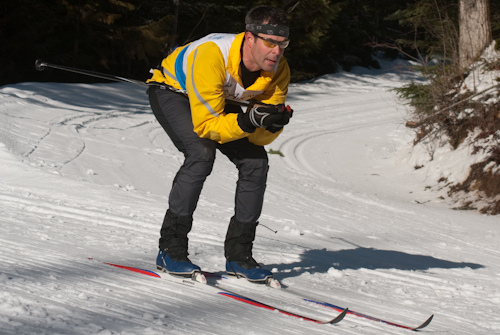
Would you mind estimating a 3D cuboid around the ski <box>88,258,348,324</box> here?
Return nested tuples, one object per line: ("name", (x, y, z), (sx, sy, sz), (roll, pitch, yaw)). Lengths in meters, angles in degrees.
("ski", (-0.405, 1.309, 6.014), (1.848, 0.182, 0.155), (14, 70, 7))
